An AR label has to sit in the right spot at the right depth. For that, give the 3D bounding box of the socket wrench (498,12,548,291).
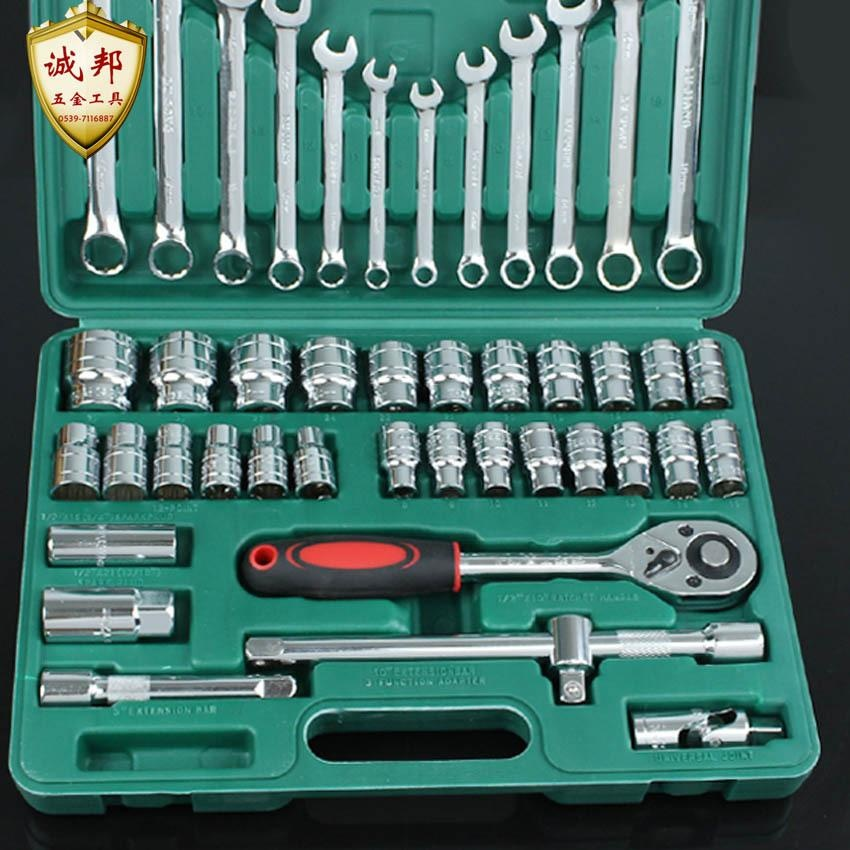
[{"bbox_3d":[0.218,-0.582,2.228,0.031,0.560,0.115,-12,17,-38],"label":"socket wrench"}]
